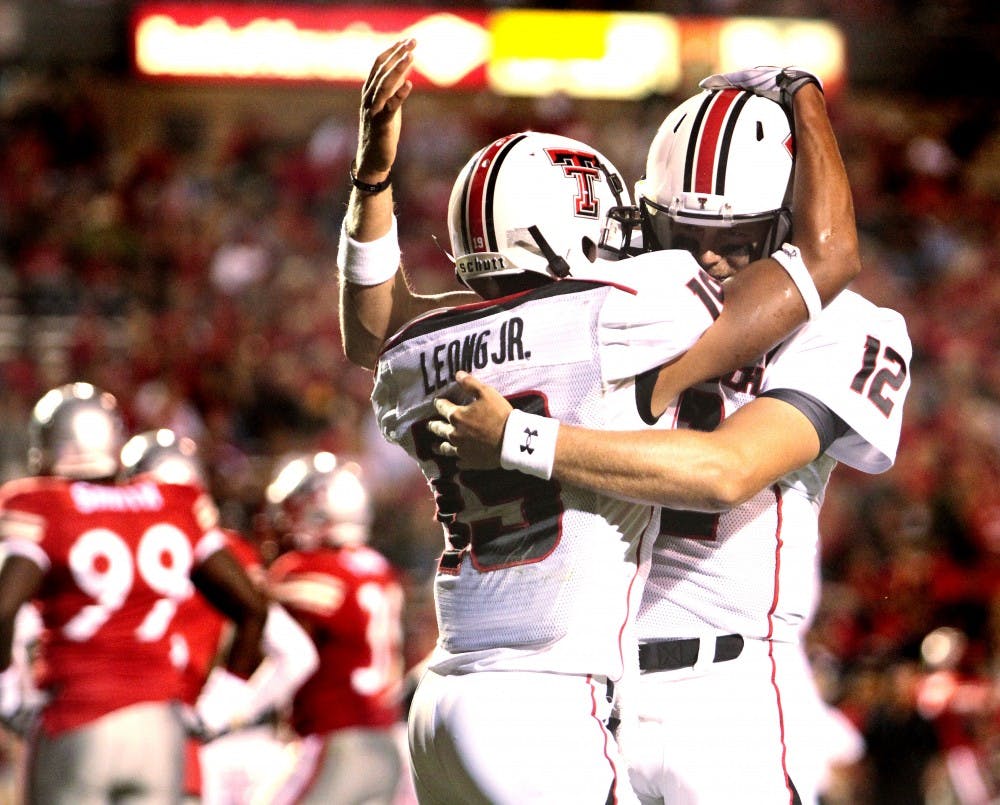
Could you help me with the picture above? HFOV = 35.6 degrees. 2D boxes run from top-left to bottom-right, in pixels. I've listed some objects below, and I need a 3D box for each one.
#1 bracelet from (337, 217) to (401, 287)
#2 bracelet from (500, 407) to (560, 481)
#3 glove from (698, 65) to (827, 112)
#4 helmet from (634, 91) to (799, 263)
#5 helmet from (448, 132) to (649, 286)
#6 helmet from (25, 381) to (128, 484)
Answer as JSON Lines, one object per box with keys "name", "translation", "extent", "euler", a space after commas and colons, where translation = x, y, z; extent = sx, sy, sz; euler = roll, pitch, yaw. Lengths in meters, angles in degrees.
{"name": "bracelet", "translation": [-0.445, -0.540, 5.527], "extent": [0.238, 0.169, 0.227], "euler": [-2, 3, -4]}
{"name": "bracelet", "translation": [0.100, 0.136, 4.948], "extent": [0.202, 0.191, 0.078], "euler": [16, 6, 14]}
{"name": "glove", "translation": [0.926, -1.121, 5.447], "extent": [0.287, 0.077, 0.193], "euler": [8, 13, -2]}
{"name": "helmet", "translation": [0.802, -0.793, 5.548], "extent": [0.507, 0.535, 0.619], "euler": [12, 54, 16]}
{"name": "helmet", "translation": [0.156, -0.595, 5.372], "extent": [0.653, 0.459, 0.502], "euler": [9, 76, -25]}
{"name": "helmet", "translation": [-1.884, 0.134, 6.980], "extent": [0.439, 0.483, 0.420], "euler": [-1, -5, -4]}
